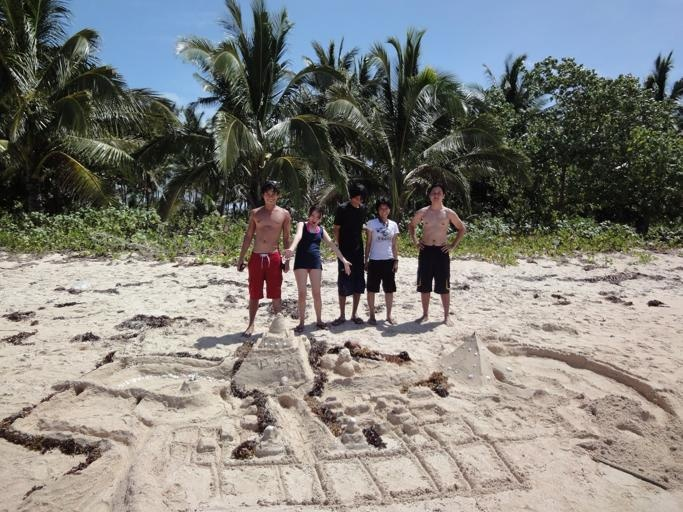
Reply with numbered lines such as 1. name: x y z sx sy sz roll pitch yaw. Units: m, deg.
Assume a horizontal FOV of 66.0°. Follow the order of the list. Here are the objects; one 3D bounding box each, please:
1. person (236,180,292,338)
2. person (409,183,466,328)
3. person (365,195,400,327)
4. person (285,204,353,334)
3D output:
1. person: -1.098 0.035 7.454 0.742 2.135 0.739 0 5 -1
2. person: 1.411 -0.027 7.930 0.769 2.065 0.331 0 5 8
3. person: 0.583 0.077 7.900 0.489 1.869 0.611 1 5 12
4. person: -0.381 0.186 7.398 0.911 1.783 0.528 -2 5 -20
